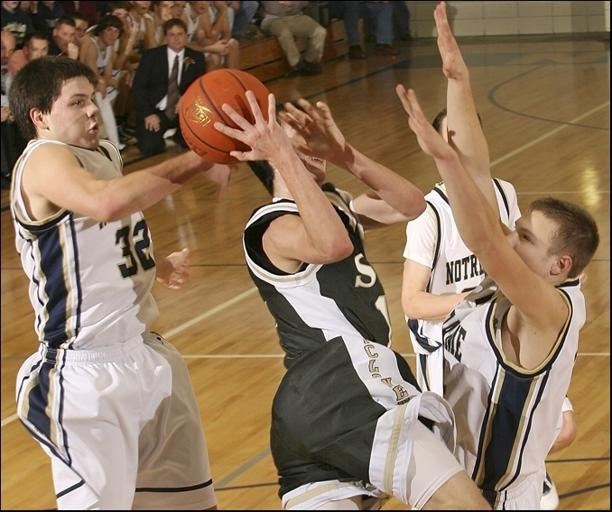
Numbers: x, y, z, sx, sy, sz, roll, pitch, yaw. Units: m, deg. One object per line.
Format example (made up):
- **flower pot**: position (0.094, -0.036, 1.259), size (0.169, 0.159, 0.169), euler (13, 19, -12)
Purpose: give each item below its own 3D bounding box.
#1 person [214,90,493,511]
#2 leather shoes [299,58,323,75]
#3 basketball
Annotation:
- **person**: position (0.084, 0.128, 1.569), size (0.557, 1.129, 0.697), euler (-8, 16, 4)
- **leather shoes**: position (0.077, -2.774, 8.843), size (0.183, 0.154, 0.336), euler (-13, 15, -43)
- **basketball**: position (-0.218, -0.364, 1.703), size (0.261, 0.252, 0.248), euler (20, 14, -5)
